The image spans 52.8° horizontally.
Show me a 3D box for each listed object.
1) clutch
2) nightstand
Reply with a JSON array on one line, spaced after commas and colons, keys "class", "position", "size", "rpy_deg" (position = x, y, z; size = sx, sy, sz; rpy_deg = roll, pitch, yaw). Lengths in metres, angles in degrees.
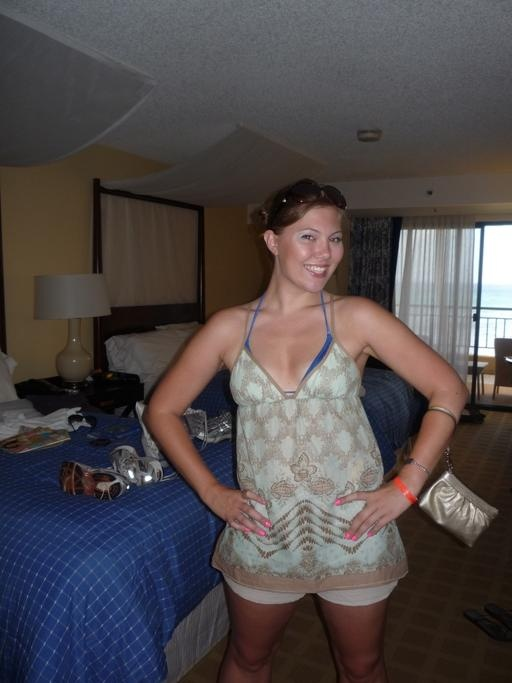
[{"class": "clutch", "position": [0.380, 0.318, 0.993], "size": [0.145, 0.139, 0.053], "rpy_deg": [41, -8, 11]}, {"class": "nightstand", "position": [-1.116, 0.333, 3.361], "size": [0.731, 0.320, 0.911], "rpy_deg": [12, 11, 37]}]
